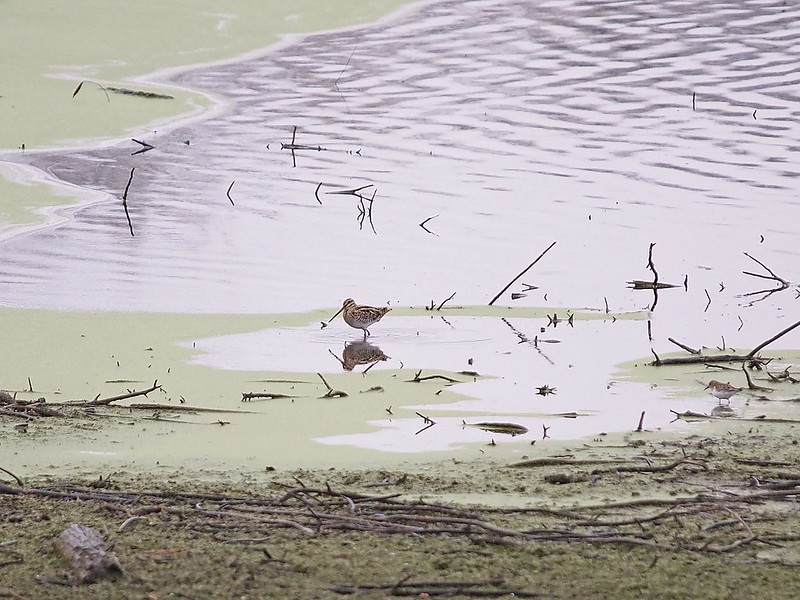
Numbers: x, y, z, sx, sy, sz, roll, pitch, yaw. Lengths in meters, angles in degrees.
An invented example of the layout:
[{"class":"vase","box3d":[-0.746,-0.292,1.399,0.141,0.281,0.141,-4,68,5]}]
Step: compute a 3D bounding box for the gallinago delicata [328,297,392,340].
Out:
[{"class":"gallinago delicata","box3d":[-0.754,0.306,20.511,0.516,0.601,1.470,5,10,39]}]
